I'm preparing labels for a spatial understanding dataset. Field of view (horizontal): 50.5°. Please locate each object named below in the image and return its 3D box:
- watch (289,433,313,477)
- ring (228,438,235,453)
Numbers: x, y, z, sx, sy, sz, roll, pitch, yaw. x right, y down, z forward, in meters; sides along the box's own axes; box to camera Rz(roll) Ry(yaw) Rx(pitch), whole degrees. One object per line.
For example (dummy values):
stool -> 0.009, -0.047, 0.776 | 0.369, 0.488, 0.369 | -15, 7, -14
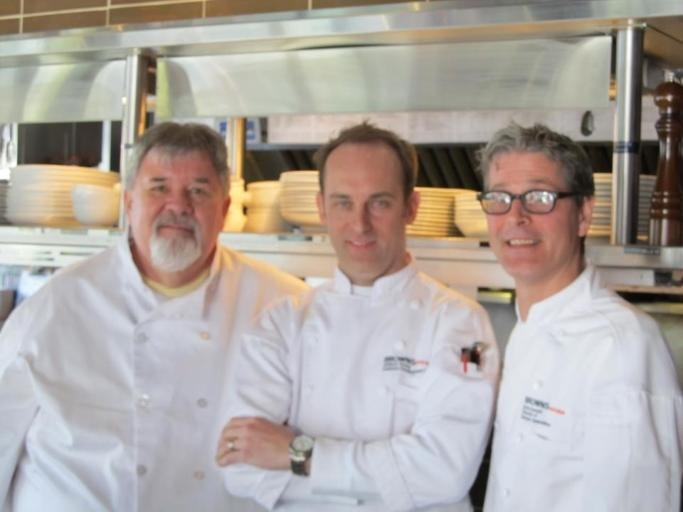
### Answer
watch -> -0.116, 0.576, 2.126 | 0.087, 0.080, 0.103 | 0, 41, 6
ring -> -0.330, 0.564, 2.164 | 0.028, 0.027, 0.007 | -5, -10, 40
